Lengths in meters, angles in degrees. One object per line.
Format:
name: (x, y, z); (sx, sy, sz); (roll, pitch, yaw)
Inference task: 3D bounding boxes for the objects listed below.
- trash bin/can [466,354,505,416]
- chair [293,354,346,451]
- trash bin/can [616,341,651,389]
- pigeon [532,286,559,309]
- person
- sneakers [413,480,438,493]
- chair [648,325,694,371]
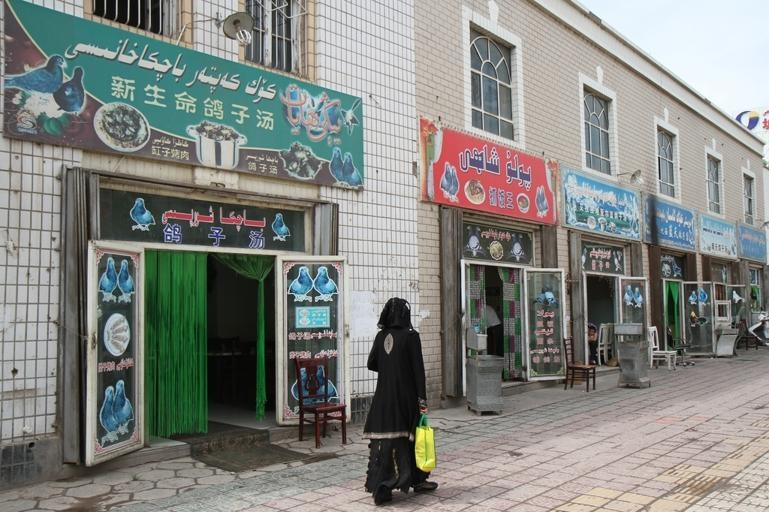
trash bin/can: (1.833, 2.372, 13.848); (0.661, 0.977, 0.716); (2, -4, -7)
chair: (-1.000, 2.257, 11.762); (0.716, 1.290, 0.717); (-1, -2, 33)
trash bin/can: (5.397, 2.324, 16.296); (0.585, 0.956, 0.614); (-2, -4, 38)
pigeon: (3.445, 0.917, 16.266); (0.444, 0.242, 0.650); (1, 1, 13)
person: (0.070, 1.799, 9.836); (1.033, 2.415, 0.993); (5, 3, 17)
sneakers: (0.526, 2.941, 9.734); (0.295, 0.122, 0.140); (-2, -1, -20)
chair: (7.540, 2.377, 19.758); (1.040, 1.222, 2.053); (-6, -11, 22)
